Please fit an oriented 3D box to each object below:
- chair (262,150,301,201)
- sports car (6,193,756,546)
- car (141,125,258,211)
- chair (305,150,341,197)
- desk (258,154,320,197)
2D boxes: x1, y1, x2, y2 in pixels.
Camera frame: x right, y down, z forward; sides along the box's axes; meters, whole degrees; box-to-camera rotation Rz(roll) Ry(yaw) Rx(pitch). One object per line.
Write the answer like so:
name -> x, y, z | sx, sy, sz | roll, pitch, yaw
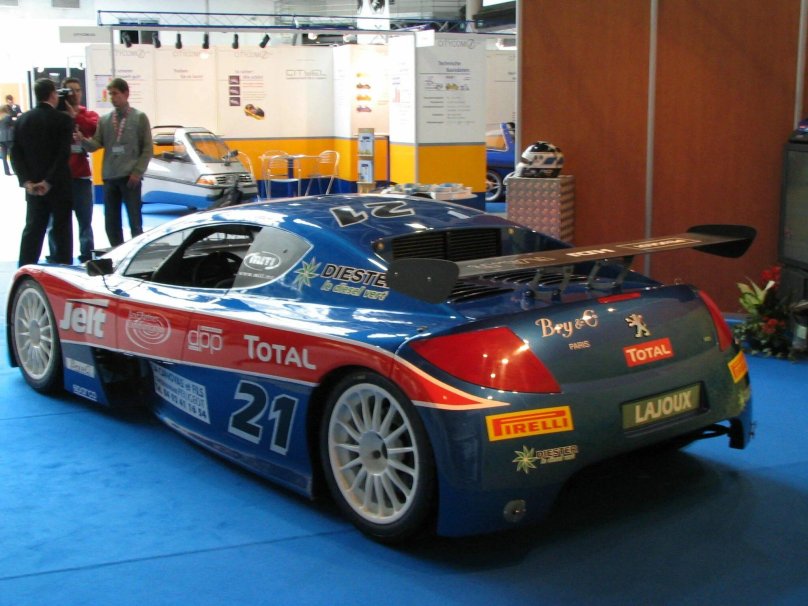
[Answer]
chair -> -3.329, -3.338, 16.636 | 1.096, 1.075, 1.000 | -8, 18, -32
sports car -> -0.581, 0.129, 3.358 | 3.665, 0.858, 1.905 | 10, 13, 40
car -> -4.965, -3.273, 14.431 | 3.163, 1.299, 1.980 | 18, 27, 38
chair -> -2.206, -3.657, 17.429 | 0.980, 1.021, 0.795 | 18, 7, 1
desk -> -3.291, -3.348, 16.888 | 1.696, 1.418, 1.469 | 9, 19, 14
